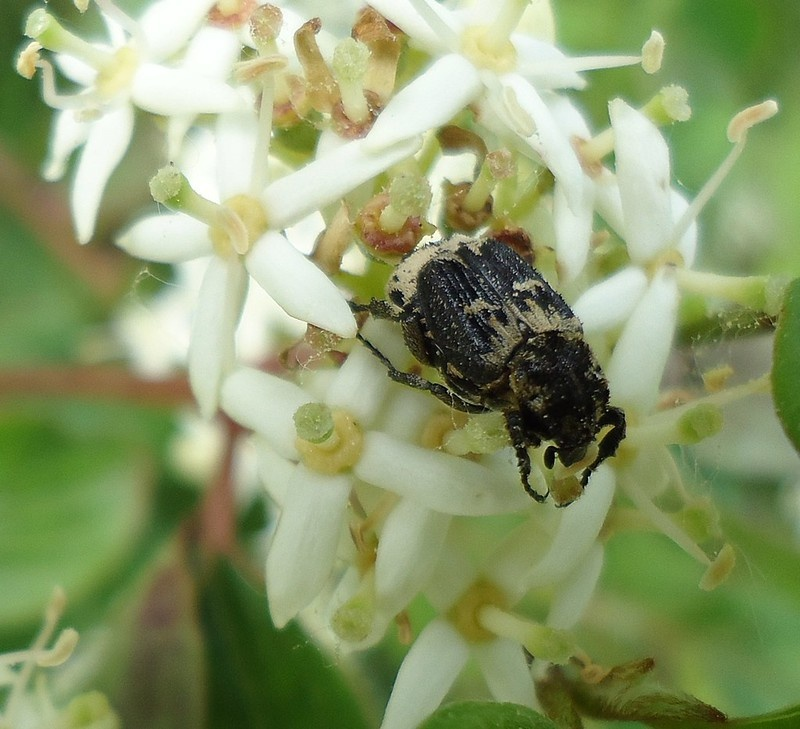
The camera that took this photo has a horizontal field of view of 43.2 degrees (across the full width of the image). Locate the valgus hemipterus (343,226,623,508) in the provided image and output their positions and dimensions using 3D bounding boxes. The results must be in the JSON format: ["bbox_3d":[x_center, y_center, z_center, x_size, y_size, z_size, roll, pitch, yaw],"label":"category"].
[{"bbox_3d":[0.047,-0.022,0.970,0.209,0.092,0.272,-24,70,-39],"label":"valgus hemipterus"}]
